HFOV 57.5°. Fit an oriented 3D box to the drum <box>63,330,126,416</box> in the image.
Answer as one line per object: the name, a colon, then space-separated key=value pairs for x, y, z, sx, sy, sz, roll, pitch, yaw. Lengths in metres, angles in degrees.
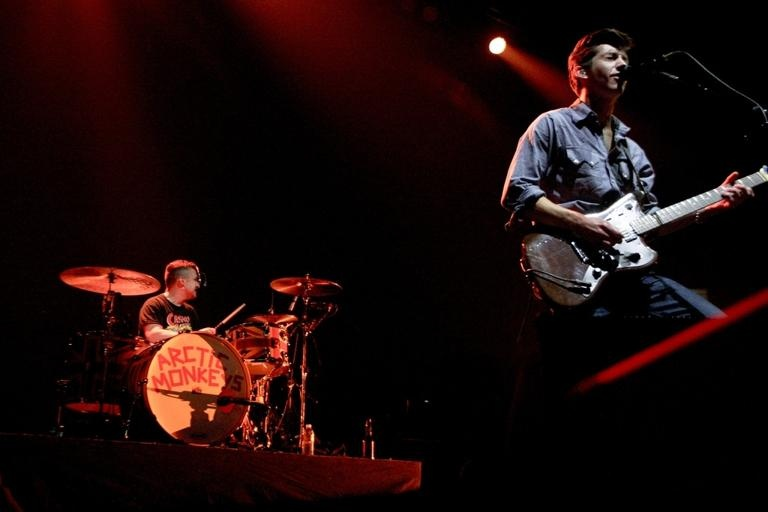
drum: x=-2.825 y=1.142 z=7.051 sx=0.749 sy=0.735 sz=0.757 roll=2 pitch=-12 yaw=-25

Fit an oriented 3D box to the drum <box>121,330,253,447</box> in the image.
drum: x=-1.607 y=1.198 z=6.687 sx=1.101 sy=1.013 sz=0.824 roll=-1 pitch=-2 yaw=14

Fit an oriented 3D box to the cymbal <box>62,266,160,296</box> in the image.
cymbal: x=-2.843 y=0.253 z=7.288 sx=0.545 sy=0.120 sz=0.555 roll=10 pitch=-3 yaw=42

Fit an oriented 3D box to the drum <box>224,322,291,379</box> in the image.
drum: x=-1.322 y=1.040 z=7.662 sx=0.671 sy=0.449 sz=0.668 roll=-2 pitch=-11 yaw=0
